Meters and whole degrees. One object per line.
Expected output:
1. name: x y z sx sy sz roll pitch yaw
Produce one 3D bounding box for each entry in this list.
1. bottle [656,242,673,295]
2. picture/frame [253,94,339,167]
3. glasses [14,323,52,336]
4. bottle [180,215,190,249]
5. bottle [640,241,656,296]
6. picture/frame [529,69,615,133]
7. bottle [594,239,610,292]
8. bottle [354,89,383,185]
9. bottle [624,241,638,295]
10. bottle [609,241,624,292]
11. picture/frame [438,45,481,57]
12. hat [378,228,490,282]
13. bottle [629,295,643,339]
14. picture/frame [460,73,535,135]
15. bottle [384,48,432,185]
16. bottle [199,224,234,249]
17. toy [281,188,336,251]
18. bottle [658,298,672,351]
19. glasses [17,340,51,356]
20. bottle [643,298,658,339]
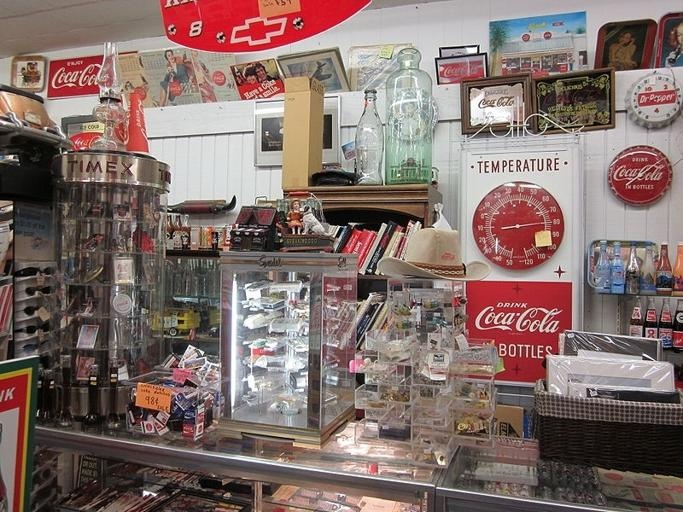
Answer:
1. bottle: 2.132 0.078 3.860 0.098 0.328 0.165 1 3 29
2. picture/frame: -0.329 -0.978 4.526 0.628 0.920 0.075 -3 5 10
3. glasses: -1.469 0.346 2.772 0.017 0.052 0.163 1 4 33
4. bottle: -1.345 -0.214 5.042 0.077 0.276 0.324 -1 3 -15
5. bottle: 2.071 0.074 3.942 0.103 0.336 0.254 1 3 28
6. picture/frame: 1.655 -1.088 4.163 0.467 0.385 0.034 1 4 14
7. bottle: 1.782 0.067 4.003 0.096 0.336 0.175 1 3 24
8. bottle: 0.200 -0.835 4.267 0.194 0.637 0.286 0 3 2
9. bottle: 1.948 0.089 3.913 0.085 0.320 0.130 1 3 27
10. bottle: 1.869 0.074 3.961 0.091 0.342 0.193 1 3 25
11. picture/frame: 1.004 -1.727 4.945 0.439 0.044 0.444 -10 25 -12
12. hat: 0.455 -0.009 2.860 0.553 0.249 0.542 3 4 26
13. bottle: 1.980 0.399 3.925 0.084 0.240 0.237 1 3 27
14. picture/frame: 1.146 -1.096 4.253 0.455 0.392 0.037 1 1 14
15. bottle: 0.480 -1.007 4.198 0.327 0.974 0.256 0 2 4
16. bottle: -0.985 -0.146 4.554 0.186 0.137 0.103 0 -4 12
17. toy: -0.187 -0.156 2.675 0.248 0.286 0.279 -3 4 -26
18. bottle: 2.146 0.439 3.872 0.084 0.293 0.283 1 3 30
19. glasses: -1.466 0.435 2.778 0.028 0.083 0.161 1 4 31
20. bottle: 2.076 0.403 3.927 0.083 0.224 0.278 1 3 28
